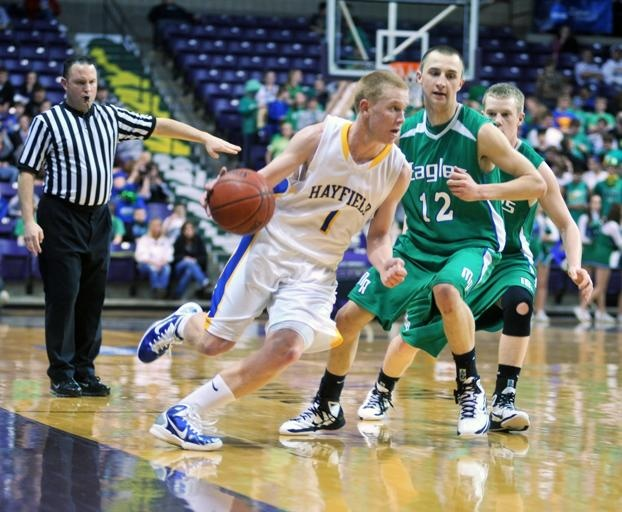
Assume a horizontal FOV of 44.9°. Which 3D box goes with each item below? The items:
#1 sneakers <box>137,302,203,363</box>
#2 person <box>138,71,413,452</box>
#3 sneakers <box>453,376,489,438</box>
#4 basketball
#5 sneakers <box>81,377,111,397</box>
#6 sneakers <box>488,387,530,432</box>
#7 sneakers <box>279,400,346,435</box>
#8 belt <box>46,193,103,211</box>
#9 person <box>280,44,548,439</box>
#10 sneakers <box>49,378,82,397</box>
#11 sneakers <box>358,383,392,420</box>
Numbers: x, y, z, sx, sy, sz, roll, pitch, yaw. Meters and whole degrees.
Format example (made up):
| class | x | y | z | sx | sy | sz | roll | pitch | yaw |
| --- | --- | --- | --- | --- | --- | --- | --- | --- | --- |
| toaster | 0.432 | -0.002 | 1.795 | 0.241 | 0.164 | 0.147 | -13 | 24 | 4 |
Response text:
| class | x | y | z | sx | sy | sz | roll | pitch | yaw |
| --- | --- | --- | --- | --- | --- | --- | --- | --- | --- |
| sneakers | -0.806 | 0.416 | 3.975 | 0.174 | 0.145 | 0.419 | 25 | -32 | -13 |
| person | -0.118 | 0.006 | 3.695 | 1.179 | 1.876 | 0.489 | 4 | -4 | 1 |
| sneakers | 0.837 | 0.784 | 3.918 | 0.173 | 0.287 | 0.208 | 3 | -4 | 10 |
| basketball | -0.309 | -0.241 | 3.443 | 0.265 | 0.319 | 0.282 | -2 | -2 | 4 |
| sneakers | -1.340 | 0.823 | 4.643 | 0.221 | 0.120 | 0.081 | -1 | -5 | 20 |
| sneakers | 1.074 | 0.842 | 4.096 | 0.115 | 0.196 | 0.330 | 14 | -9 | -13 |
| sneakers | 0.017 | 0.826 | 3.896 | 0.388 | 0.212 | 0.138 | -1 | -2 | -20 |
| belt | -1.459 | -0.311 | 4.534 | 0.152 | 0.041 | 0.149 | 15 | 0 | 39 |
| person | 0.590 | -0.039 | 4.156 | 1.226 | 2.259 | 0.905 | 3 | -13 | 17 |
| sneakers | -1.474 | 0.803 | 4.534 | 0.187 | 0.096 | 0.087 | -9 | -10 | 44 |
| sneakers | 0.387 | 0.860 | 4.358 | 0.124 | 0.178 | 0.398 | 13 | 6 | 22 |
